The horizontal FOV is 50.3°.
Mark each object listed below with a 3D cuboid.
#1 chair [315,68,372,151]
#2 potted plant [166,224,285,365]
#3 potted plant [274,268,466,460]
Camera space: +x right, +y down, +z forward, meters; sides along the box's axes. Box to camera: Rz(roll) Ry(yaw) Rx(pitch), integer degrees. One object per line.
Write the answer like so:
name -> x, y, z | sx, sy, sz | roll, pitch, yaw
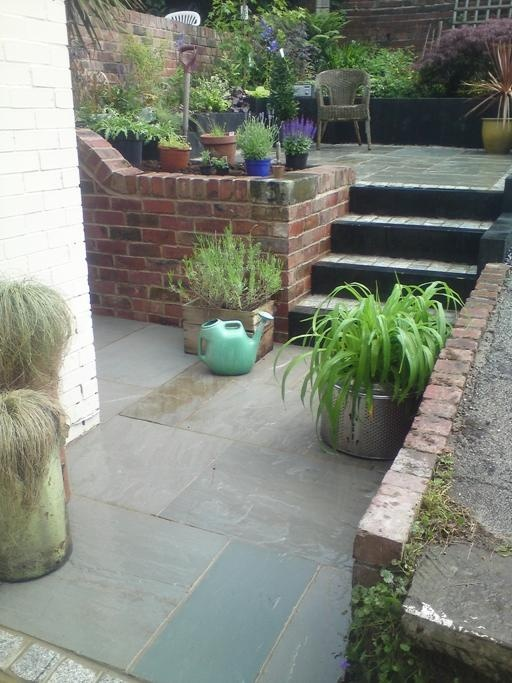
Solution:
chair -> 1.202, -3.165, 7.447 | 0.715, 1.099, 1.736 | 1, 17, 11
potted plant -> -0.156, -0.340, 3.409 | 0.946, 1.032, 0.758 | 0, 18, 3
potted plant -> 0.493, 0.137, 2.227 | 0.697, 0.707, 0.469 | -13, 21, -31
